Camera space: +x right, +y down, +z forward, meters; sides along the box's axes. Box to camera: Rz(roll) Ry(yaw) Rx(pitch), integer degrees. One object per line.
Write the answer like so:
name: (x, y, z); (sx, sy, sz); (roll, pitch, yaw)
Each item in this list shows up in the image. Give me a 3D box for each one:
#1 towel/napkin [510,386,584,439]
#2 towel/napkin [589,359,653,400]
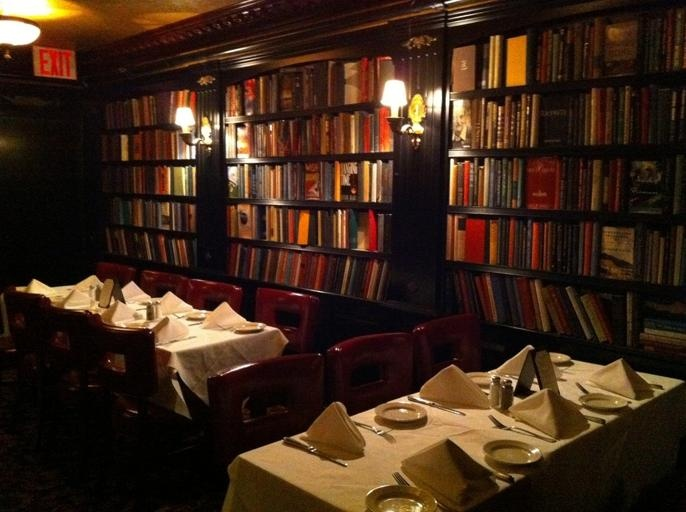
towel/napkin: (0.885, 0.645, 2.192); (0.218, 0.092, 0.212); (-11, 19, -36)
towel/napkin: (1.332, 0.575, 2.628); (0.323, 0.128, 0.344); (-7, 16, 23)
